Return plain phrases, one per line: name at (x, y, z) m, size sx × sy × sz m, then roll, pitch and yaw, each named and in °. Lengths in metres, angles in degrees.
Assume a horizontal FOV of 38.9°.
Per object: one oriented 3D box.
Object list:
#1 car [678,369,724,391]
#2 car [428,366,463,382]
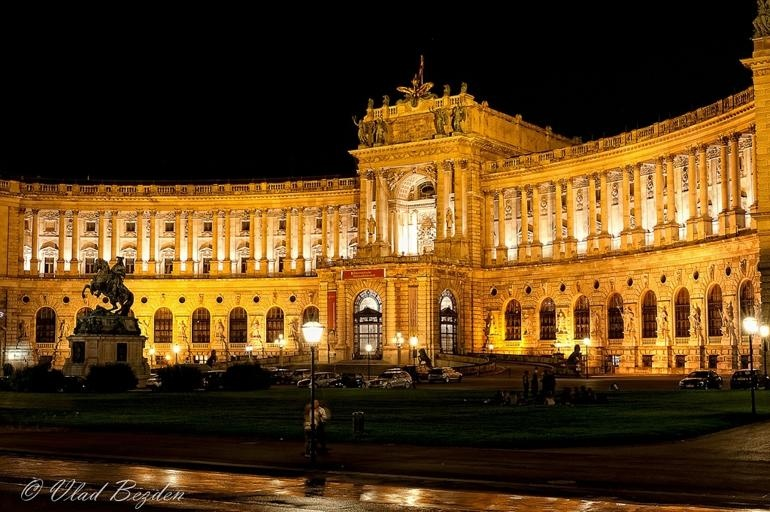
car at (18.881, 7.393, 64.935) m, size 1.835 × 1.079 × 2.318 m, roll -9°, pitch -12°, yaw 42°
car at (4.548, 8.427, 77.318) m, size 2.225 × 0.668 × 0.964 m, roll -2°, pitch 1°, yaw -39°
